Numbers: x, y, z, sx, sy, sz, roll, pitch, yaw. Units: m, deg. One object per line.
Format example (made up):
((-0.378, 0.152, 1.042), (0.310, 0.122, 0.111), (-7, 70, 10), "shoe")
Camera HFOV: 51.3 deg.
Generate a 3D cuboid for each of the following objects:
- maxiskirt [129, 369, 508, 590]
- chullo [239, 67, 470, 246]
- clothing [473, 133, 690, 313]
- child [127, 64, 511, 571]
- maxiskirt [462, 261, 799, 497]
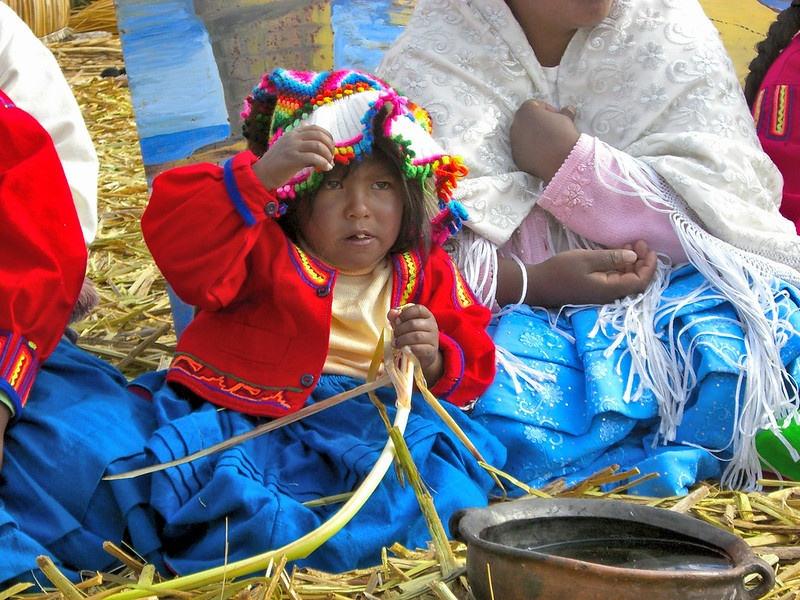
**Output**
((-0.182, 0.332, 1.672), (0.566, 0.151, 0.393), (-4, 11, -29), "maxiskirt")
((-0.145, -0.403, 2.072), (0.610, 0.304, 0.570), (6, 0, 4), "chullo")
((0.494, -0.197, 2.199), (0.565, 0.213, 0.468), (16, 53, -9), "clothing")
((-0.154, 0.035, 1.888), (0.801, 1.005, 0.937), (19, 16, 41), "child")
((0.523, 0.192, 1.945), (0.641, 0.251, 0.540), (-20, 69, -2), "maxiskirt")
